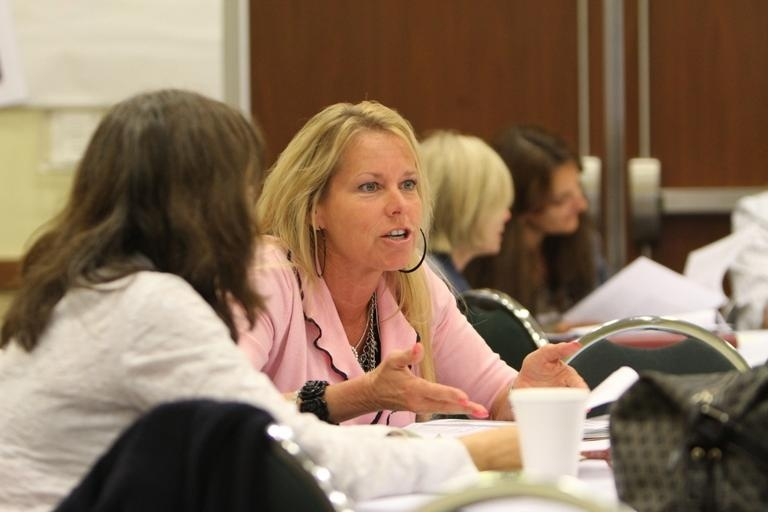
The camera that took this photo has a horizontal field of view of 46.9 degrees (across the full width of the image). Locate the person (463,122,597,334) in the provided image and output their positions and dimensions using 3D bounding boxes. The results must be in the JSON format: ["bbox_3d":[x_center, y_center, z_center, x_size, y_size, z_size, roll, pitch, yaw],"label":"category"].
[{"bbox_3d":[0.595,-0.182,3.661,0.615,1.047,0.673,-2,13,8],"label":"person"}]

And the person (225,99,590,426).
[{"bbox_3d":[0.006,0.034,2.127,0.772,0.793,0.636,-1,0,37],"label":"person"}]

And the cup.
[{"bbox_3d":[0.250,0.269,1.325,0.116,0.143,0.128,-8,-12,32],"label":"cup"}]

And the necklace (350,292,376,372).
[{"bbox_3d":[-0.052,0.185,2.084,0.020,0.082,0.189,12,52,4],"label":"necklace"}]
